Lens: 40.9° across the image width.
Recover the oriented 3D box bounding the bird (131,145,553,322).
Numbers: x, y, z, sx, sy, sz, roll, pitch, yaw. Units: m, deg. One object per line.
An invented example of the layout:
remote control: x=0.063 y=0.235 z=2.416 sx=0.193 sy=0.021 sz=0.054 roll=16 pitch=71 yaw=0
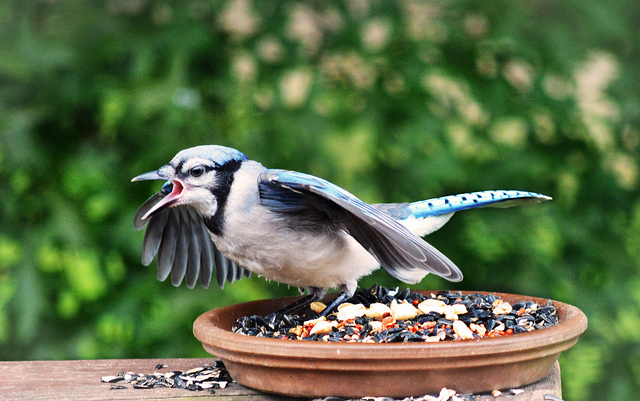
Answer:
bird: x=0.182 y=0.127 z=4.445 sx=2.237 sy=0.888 sz=1.246 roll=-4 pitch=1 yaw=-2
